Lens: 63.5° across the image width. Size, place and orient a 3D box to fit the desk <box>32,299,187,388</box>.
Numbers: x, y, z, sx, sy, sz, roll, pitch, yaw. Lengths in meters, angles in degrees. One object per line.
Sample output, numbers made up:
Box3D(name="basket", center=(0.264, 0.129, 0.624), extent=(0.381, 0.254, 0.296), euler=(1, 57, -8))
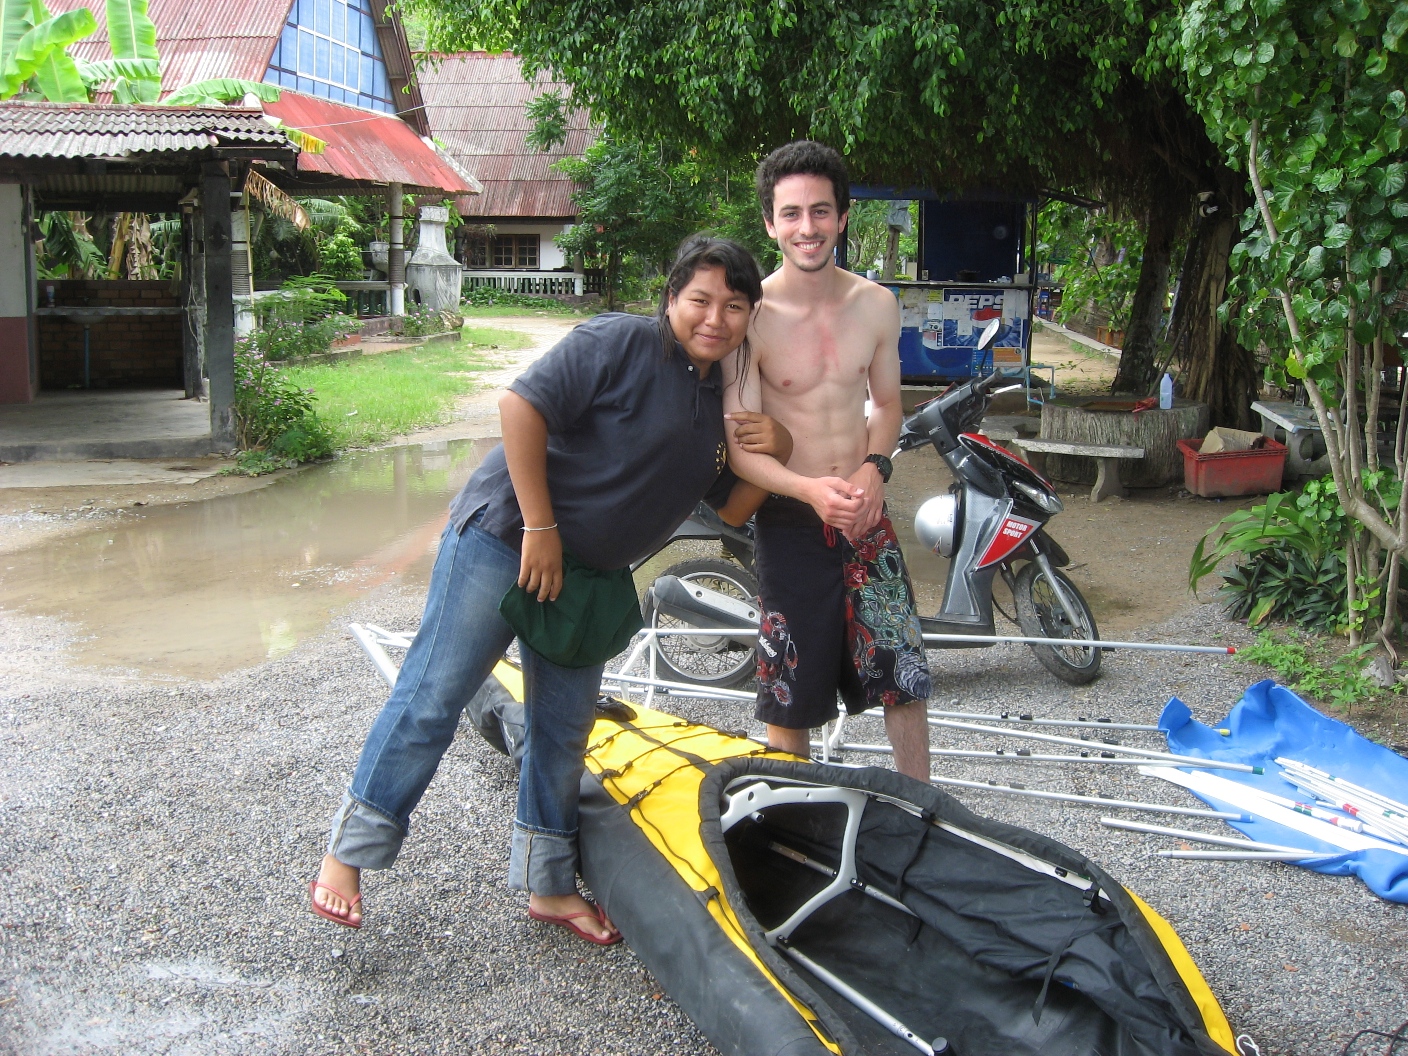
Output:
Box3D(name="desk", center=(-8.547, -2.710, 16.570), extent=(2.016, 1.521, 1.164), euler=(-3, -3, -13))

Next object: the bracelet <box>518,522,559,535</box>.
Box3D(name="bracelet", center=(-0.474, -0.004, 3.320), extent=(0.103, 0.033, 0.061), euler=(-5, 16, -14))

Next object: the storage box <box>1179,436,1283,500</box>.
Box3D(name="storage box", center=(4.367, -0.501, 9.330), extent=(0.616, 0.353, 0.480), euler=(-3, 13, 0))

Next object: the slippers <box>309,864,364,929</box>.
Box3D(name="slippers", center=(-1.134, 1.117, 3.534), extent=(0.128, 0.159, 0.363), euler=(12, -4, -25))

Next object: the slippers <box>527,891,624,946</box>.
Box3D(name="slippers", center=(-0.414, 1.227, 3.685), extent=(0.303, 0.092, 0.130), euler=(9, 7, 20))

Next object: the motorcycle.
Box3D(name="motorcycle", center=(0.851, -0.068, 5.517), extent=(2.262, 1.912, 1.172), euler=(-2, 8, 2))

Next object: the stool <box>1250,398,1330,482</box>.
Box3D(name="stool", center=(5.044, -0.770, 9.761), extent=(0.488, 0.352, 0.714), euler=(-3, 19, 4))
